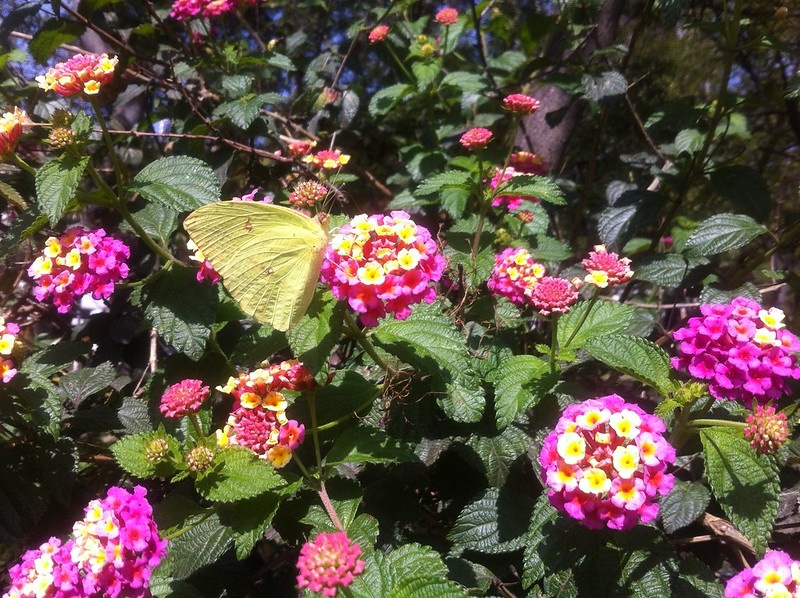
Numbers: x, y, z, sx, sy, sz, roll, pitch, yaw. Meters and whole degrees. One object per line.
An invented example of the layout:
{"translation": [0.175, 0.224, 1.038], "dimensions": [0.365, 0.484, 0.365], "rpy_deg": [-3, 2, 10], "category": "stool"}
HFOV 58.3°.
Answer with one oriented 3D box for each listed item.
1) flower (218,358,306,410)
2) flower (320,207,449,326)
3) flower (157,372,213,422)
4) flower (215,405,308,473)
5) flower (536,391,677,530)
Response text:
{"translation": [-0.699, 0.446, 3.388], "dimensions": [0.354, 0.400, 0.159], "rpy_deg": [13, 98, -14], "category": "flower"}
{"translation": [-0.067, -0.129, 3.239], "dimensions": [0.483, 0.216, 0.533], "rpy_deg": [16, 70, 6], "category": "flower"}
{"translation": [-1.038, 0.503, 3.384], "dimensions": [0.178, 0.192, 0.098], "rpy_deg": [13, 97, 22], "category": "flower"}
{"translation": [-0.687, 0.660, 3.338], "dimensions": [0.420, 0.460, 0.166], "rpy_deg": [8, 109, 16], "category": "flower"}
{"translation": [0.893, 0.797, 3.219], "dimensions": [0.520, 0.543, 0.179], "rpy_deg": [3, 98, -23], "category": "flower"}
